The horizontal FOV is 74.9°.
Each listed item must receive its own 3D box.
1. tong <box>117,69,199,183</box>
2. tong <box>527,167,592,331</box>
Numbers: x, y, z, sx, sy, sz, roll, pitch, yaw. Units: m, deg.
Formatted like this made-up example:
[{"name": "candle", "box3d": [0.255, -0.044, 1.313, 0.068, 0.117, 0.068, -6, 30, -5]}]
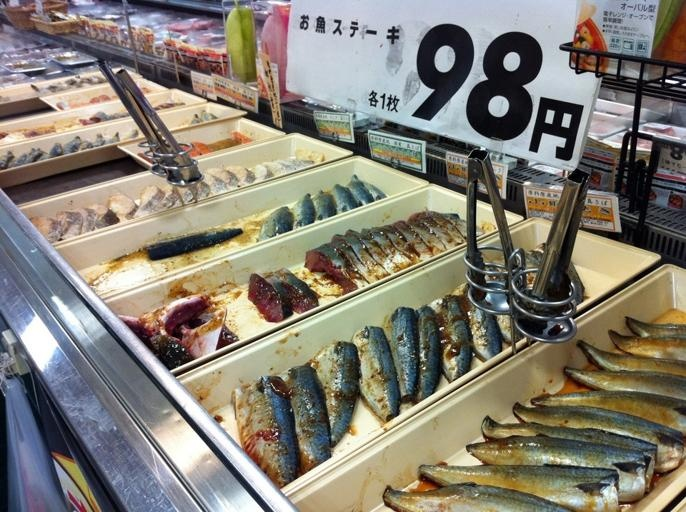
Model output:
[{"name": "tong", "box3d": [-0.952, -0.641, 2.423, 0.205, 0.744, 0.220, 5, 46, 29]}, {"name": "tong", "box3d": [0.590, -0.034, 1.167, 0.111, 0.370, 0.108, 21, 38, 28]}]
